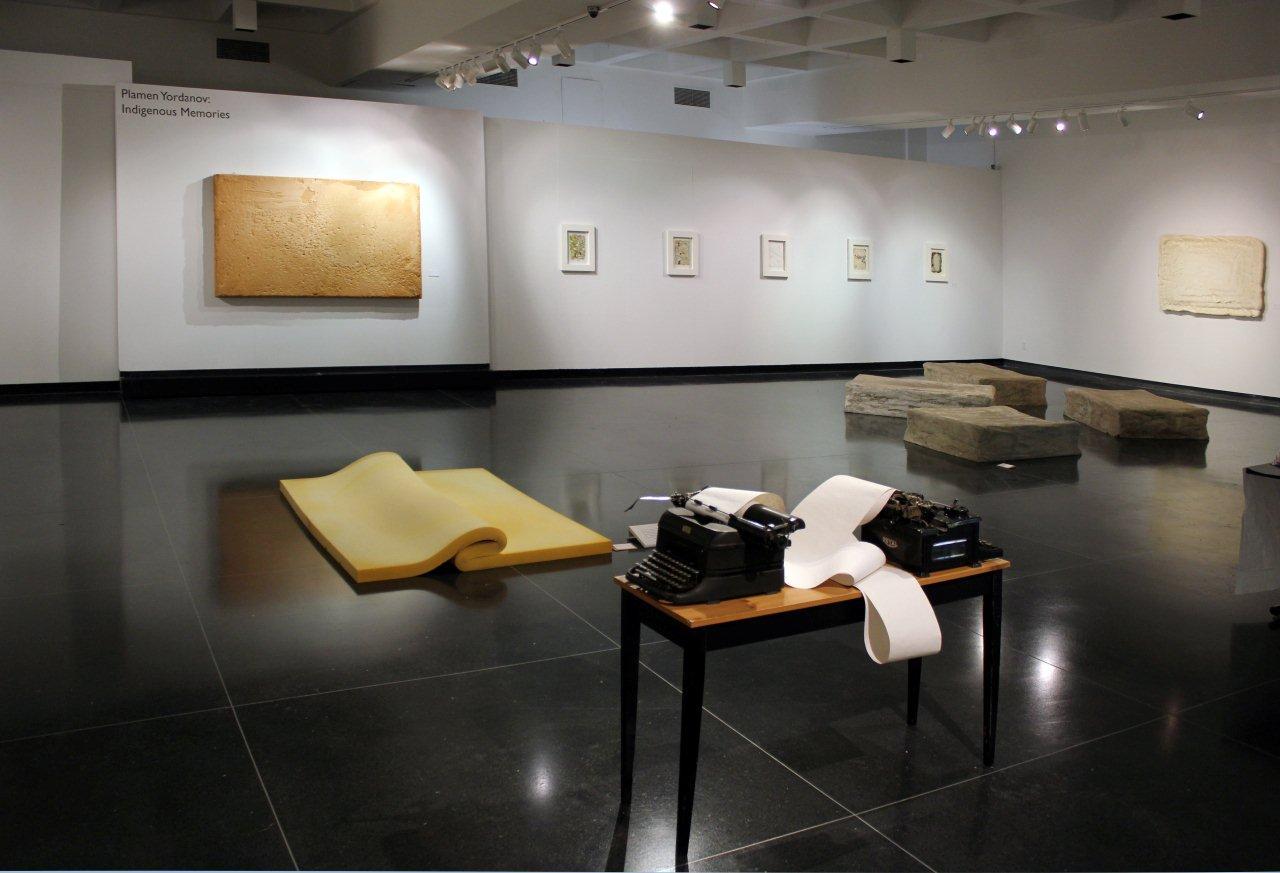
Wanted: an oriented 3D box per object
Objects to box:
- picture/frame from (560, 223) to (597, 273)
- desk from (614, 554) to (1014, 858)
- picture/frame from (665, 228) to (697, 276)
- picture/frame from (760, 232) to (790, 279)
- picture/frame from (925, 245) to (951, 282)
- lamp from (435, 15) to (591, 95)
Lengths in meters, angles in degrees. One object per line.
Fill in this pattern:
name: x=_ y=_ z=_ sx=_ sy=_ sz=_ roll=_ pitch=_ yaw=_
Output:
picture/frame: x=-1.169 y=-3.382 z=14.974 sx=0.905 sy=1.145 sz=0.126 roll=-1 pitch=3 yaw=-25
desk: x=0.726 y=0.913 z=3.874 sx=2.093 sy=0.914 sz=1.369 roll=-4 pitch=13 yaw=-23
picture/frame: x=0.714 y=-3.478 z=15.750 sx=0.886 sy=1.059 sz=0.116 roll=-2 pitch=7 yaw=-23
picture/frame: x=2.617 y=-3.586 z=16.569 sx=0.929 sy=1.087 sz=0.104 roll=-1 pitch=2 yaw=-32
picture/frame: x=6.473 y=-3.779 z=18.282 sx=0.817 sy=1.113 sz=0.116 roll=-1 pitch=3 yaw=-24
lamp: x=-1.760 y=-5.385 z=11.743 sx=1.045 sy=0.635 sz=3.506 roll=-8 pitch=15 yaw=-35
